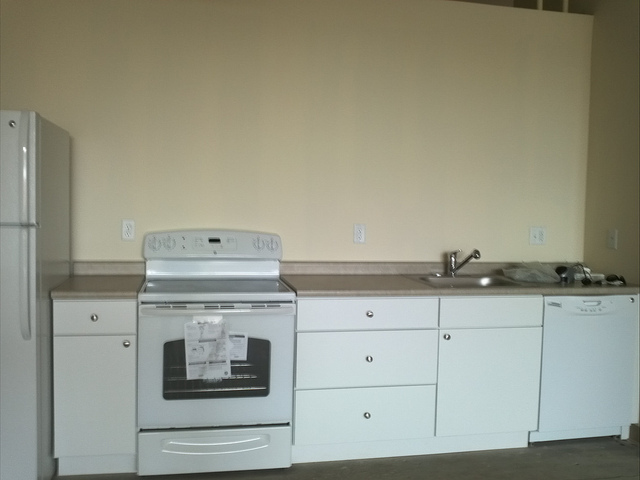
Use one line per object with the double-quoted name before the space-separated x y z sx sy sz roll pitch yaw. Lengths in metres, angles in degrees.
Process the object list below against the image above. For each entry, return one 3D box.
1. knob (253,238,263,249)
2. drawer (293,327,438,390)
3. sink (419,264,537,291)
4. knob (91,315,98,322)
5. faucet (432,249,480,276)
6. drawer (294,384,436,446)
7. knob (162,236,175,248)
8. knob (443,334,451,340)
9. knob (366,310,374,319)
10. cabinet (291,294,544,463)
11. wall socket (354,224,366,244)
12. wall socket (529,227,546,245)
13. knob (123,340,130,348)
"knob" -0.422 0.025 3.807 0.051 0.072 0.021 1 -11 -16
"drawer" 0.172 0.756 3.818 1.115 0.408 0.618 -16 -31 42
"sink" 1.121 0.260 3.970 0.724 0.160 0.386 -1 -3 -14
"knob" -1.328 0.461 3.274 0.027 0.022 0.029 4 3 7
"faucet" 0.983 0.175 3.992 0.202 0.152 0.246 2 -3 -20
"drawer" 0.219 1.150 3.839 0.960 0.346 0.709 1 -7 -13
"knob" -1.017 0.019 3.716 0.062 0.074 0.021 -4 -2 -12
"knob" 0.810 0.622 3.542 0.032 0.024 0.032 3 8 20
"knob" 0.312 0.467 3.478 0.041 0.042 0.035 4 10 -31
"cabinet" 0.616 0.843 3.972 1.709 1.058 0.910 0 9 -11
"wall socket" 0.289 -0.041 4.019 0.084 0.140 0.018 -1 -2 -9
"wall socket" 1.639 -0.034 4.207 0.133 0.139 0.013 1 3 -10
"knob" -1.143 0.616 3.293 0.031 0.023 0.031 3 -1 -12
